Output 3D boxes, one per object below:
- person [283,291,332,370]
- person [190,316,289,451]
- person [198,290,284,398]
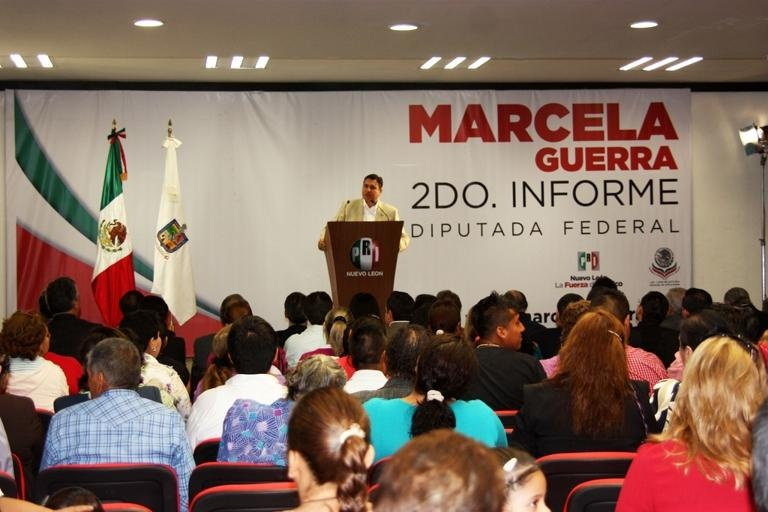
[{"bbox_3d":[-0.648,0.628,4.944,0.398,0.839,0.416,4,16,-7],"label":"person"},{"bbox_3d":[-0.858,0.765,3.436,0.626,0.960,0.490,4,16,-10],"label":"person"},{"bbox_3d":[-1.225,0.679,4.724,0.461,0.499,1.375,6,-35,-1],"label":"person"}]
